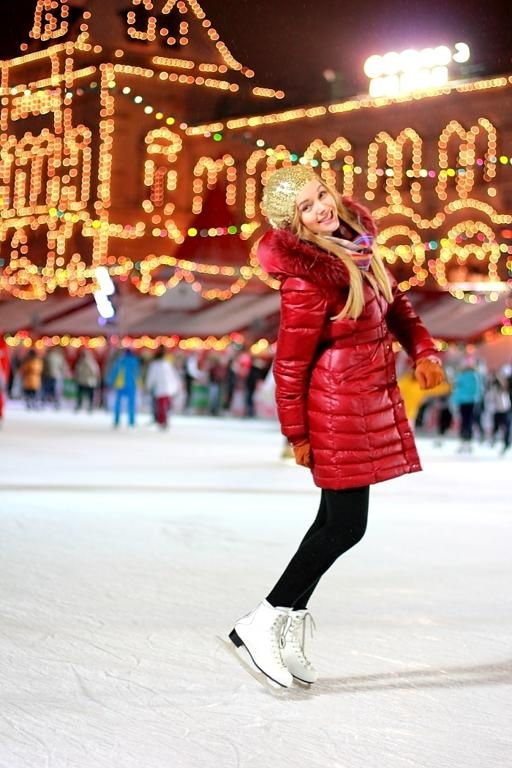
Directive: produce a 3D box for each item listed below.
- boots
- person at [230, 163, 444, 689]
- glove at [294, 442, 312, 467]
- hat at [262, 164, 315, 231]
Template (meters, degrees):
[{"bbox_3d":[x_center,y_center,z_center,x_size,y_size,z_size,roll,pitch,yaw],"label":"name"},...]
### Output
[{"bbox_3d":[0.085,0.755,2.281,0.132,0.184,0.370,5,6,-38],"label":"boots"},{"bbox_3d":[0.260,0.104,2.283,0.602,1.536,0.437,1,4,-14],"label":"person"},{"bbox_3d":[0.142,0.209,2.224,0.057,0.067,0.035,3,3,33],"label":"glove"},{"bbox_3d":[0.124,-0.569,2.364,0.077,0.195,0.179,19,-21,-40],"label":"hat"}]
